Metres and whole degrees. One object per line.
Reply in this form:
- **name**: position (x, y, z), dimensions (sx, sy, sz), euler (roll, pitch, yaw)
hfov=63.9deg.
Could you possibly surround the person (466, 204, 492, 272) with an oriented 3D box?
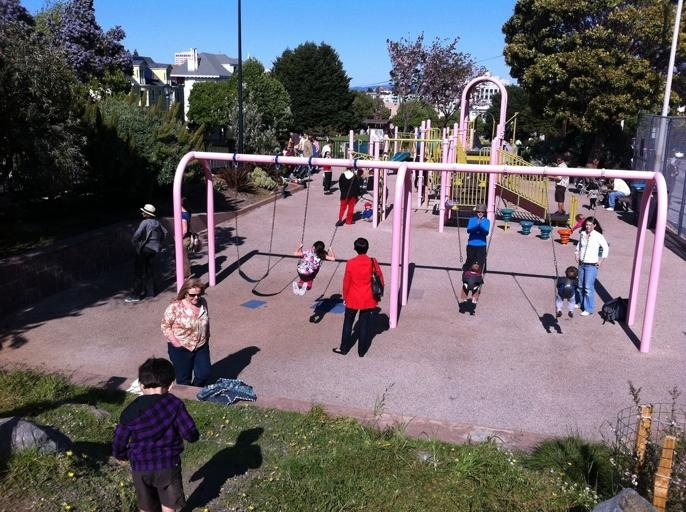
- **person**: position (2.864, -0.429, 11.809), dimensions (0.544, 1.544, 0.518), euler (3, 10, 0)

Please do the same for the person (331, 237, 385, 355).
- **person**: position (0.272, 0.608, 9.610), dimensions (0.756, 1.989, 1.222), euler (1, 14, 0)

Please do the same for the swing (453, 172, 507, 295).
- **swing**: position (2.821, -0.406, 11.931), dimensions (0.749, 2.214, 0.845), euler (1, 2, 20)

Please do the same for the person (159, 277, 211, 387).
- **person**: position (-2.216, 1.105, 7.747), dimensions (0.621, 1.861, 0.591), euler (-27, 55, -34)

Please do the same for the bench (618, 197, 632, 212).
- **bench**: position (10.594, -1.983, 20.728), dimensions (0.391, 0.353, 0.661), euler (0, 11, 6)

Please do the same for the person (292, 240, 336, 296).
- **person**: position (-0.654, 0.259, 11.098), dimensions (0.671, 1.217, 0.542), euler (2, 13, 6)

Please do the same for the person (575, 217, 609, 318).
- **person**: position (4.994, 0.171, 11.160), dimensions (0.680, 2.103, 0.578), euler (5, 11, 11)
